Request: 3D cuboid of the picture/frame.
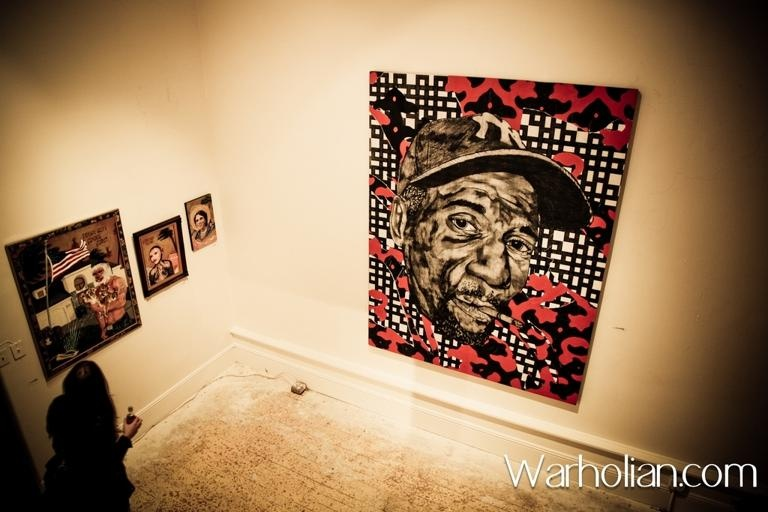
[{"bbox_3d":[-1.919,0.203,3.680,0.056,0.820,1.267,13,29,24],"label":"picture/frame"}]
